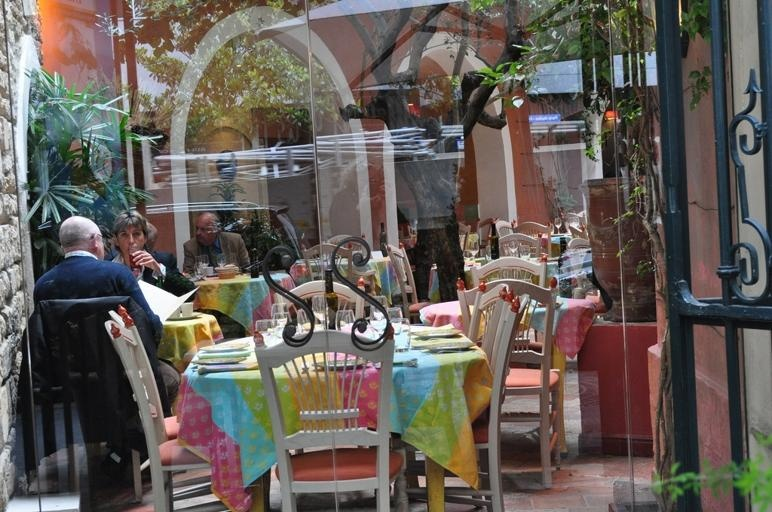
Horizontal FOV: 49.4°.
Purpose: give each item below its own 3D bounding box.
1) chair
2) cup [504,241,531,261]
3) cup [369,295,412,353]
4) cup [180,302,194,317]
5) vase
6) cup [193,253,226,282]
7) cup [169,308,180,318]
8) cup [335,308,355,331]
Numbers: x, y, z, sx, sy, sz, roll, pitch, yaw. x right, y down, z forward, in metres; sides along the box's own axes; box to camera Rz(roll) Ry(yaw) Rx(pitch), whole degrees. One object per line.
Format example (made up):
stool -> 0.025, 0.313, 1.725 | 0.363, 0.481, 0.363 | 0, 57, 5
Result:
chair -> -0.742, 0.554, 4.631 | 2.491, 1.138, 0.906 | -3, 2, 28
cup -> 0.814, -0.042, 5.151 | 0.099, 0.175, 0.110 | -4, 7, -8
cup -> 0.019, 0.378, 4.512 | 0.233, 0.263, 0.175 | 2, -13, -8
cup -> -1.231, 0.333, 5.185 | 0.079, 0.080, 0.068 | -1, 2, -19
vase -> 1.302, -0.013, 4.721 | 0.318, 0.880, 0.959 | -3, 2, 13
cup -> -1.088, 0.072, 5.127 | 0.149, 0.136, 0.169 | 0, 1, -38
cup -> -1.292, 0.346, 5.158 | 0.044, 0.046, 0.057 | 0, -8, -20
cup -> -0.217, 0.341, 4.514 | 0.093, 0.115, 0.097 | 2, 5, 0
